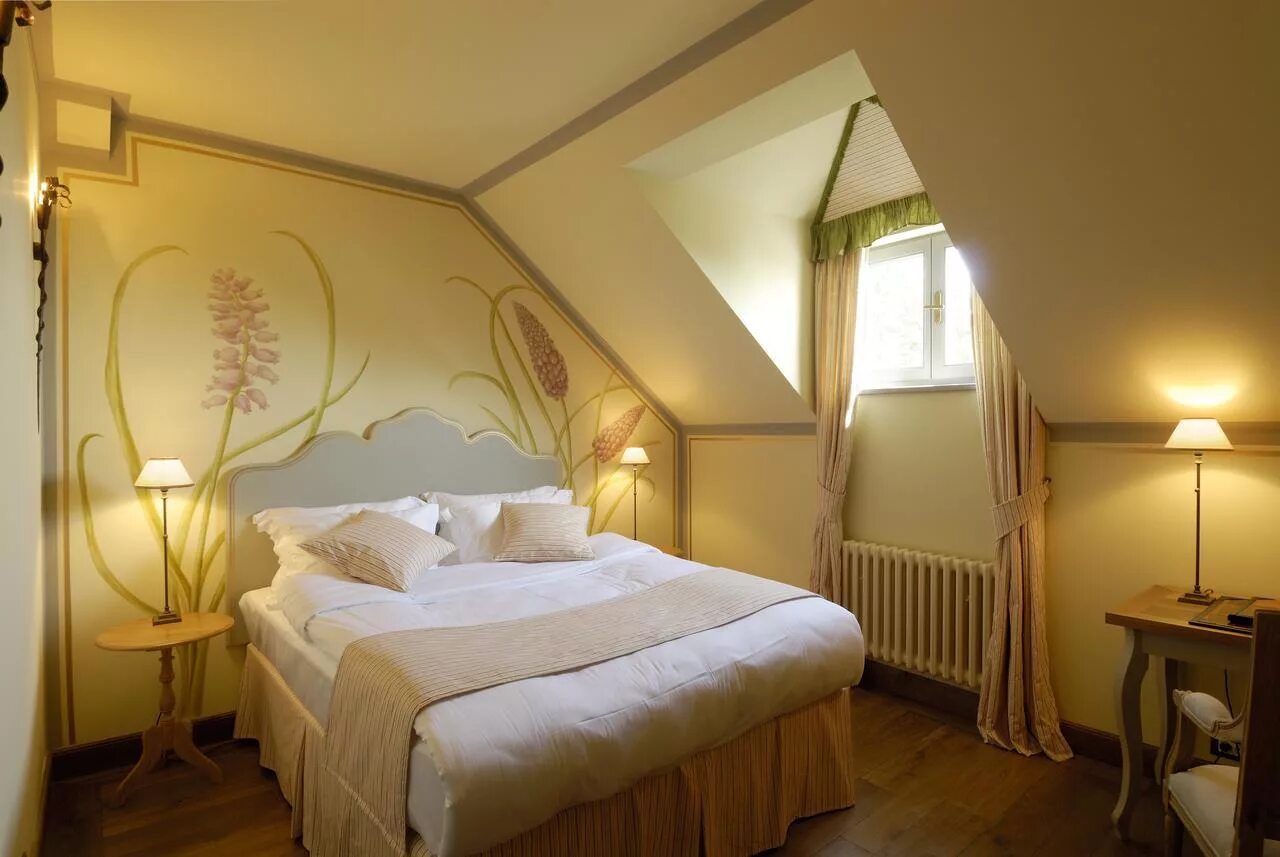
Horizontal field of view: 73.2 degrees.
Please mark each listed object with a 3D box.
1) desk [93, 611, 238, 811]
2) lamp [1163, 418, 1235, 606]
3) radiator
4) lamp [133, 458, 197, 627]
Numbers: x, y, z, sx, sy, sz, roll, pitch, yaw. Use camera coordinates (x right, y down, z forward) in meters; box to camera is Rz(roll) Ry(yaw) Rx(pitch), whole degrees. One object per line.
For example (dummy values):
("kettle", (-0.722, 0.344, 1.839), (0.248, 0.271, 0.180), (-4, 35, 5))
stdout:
("desk", (-2.561, 1.490, 4.623), (0.613, 0.779, 0.653), (4, 0, 40))
("lamp", (2.858, 0.405, 4.415), (0.267, 0.928, 0.326), (-1, 3, 37))
("radiator", (1.745, 1.132, 5.438), (0.726, 0.611, 0.805), (1, 0, -39))
("lamp", (-2.622, 0.609, 4.769), (0.268, 0.670, 0.356), (-3, 2, -29))
